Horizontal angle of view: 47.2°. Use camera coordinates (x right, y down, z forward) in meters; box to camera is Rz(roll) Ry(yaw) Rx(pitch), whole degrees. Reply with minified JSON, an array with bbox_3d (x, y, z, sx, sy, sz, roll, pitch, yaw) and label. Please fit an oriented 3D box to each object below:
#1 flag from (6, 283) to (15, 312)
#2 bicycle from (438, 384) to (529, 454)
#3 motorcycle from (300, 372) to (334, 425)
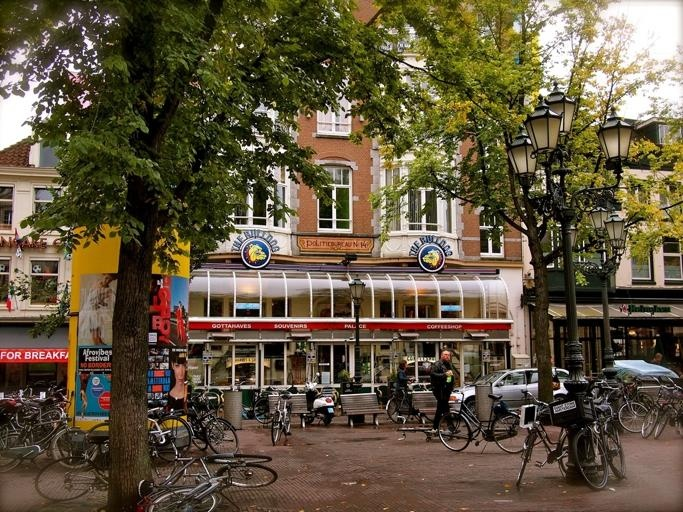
[{"bbox_3d":[-13.027,1.619,31.037,0.373,0.822,3.375,3,-10,-23],"label":"flag"},{"bbox_3d":[3.362,3.945,18.552,2.130,1.361,1.091,-4,-8,20],"label":"bicycle"},{"bbox_3d":[-0.711,4.750,25.199,0.744,1.040,1.491,1,-10,-13],"label":"motorcycle"}]
